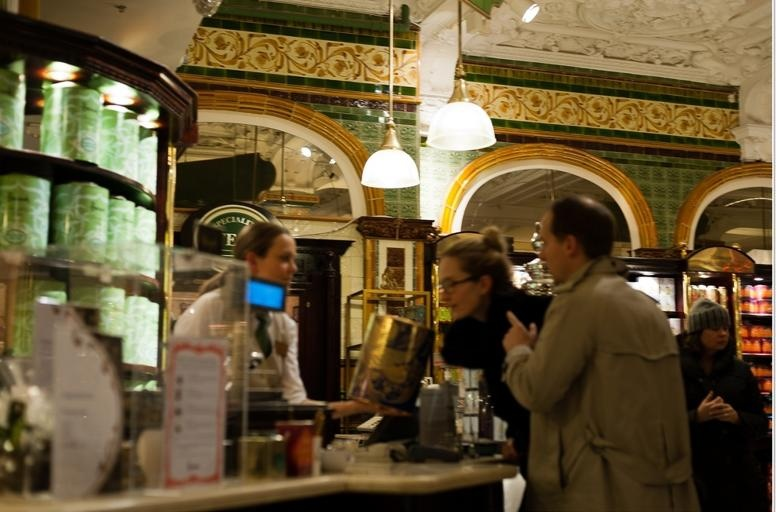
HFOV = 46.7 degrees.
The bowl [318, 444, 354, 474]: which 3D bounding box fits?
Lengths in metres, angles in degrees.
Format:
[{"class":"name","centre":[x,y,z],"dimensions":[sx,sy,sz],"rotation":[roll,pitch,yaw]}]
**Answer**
[{"class":"bowl","centre":[-0.200,0.793,3.494],"dimensions":[0.104,0.064,0.093],"rotation":[-7,-11,41]}]

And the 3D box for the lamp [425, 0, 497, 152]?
[{"class":"lamp","centre":[0.505,-1.019,6.064],"dimensions":[0.432,0.567,0.278],"rotation":[1,-6,2]}]

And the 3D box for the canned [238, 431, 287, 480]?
[{"class":"canned","centre":[-0.443,0.725,3.297],"dimensions":[0.183,0.145,0.174],"rotation":[-1,-4,7]}]

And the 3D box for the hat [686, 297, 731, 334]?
[{"class":"hat","centre":[1.905,0.358,5.393],"dimensions":[0.238,0.189,0.220],"rotation":[-16,-14,41]}]

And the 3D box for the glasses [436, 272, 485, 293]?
[{"class":"glasses","centre":[0.320,0.114,3.959],"dimensions":[0.124,0.032,0.086],"rotation":[-15,-6,-11]}]

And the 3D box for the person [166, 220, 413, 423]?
[{"class":"person","centre":[-0.414,0.231,3.696],"dimensions":[0.662,0.844,1.125],"rotation":[2,-6,-1]}]
